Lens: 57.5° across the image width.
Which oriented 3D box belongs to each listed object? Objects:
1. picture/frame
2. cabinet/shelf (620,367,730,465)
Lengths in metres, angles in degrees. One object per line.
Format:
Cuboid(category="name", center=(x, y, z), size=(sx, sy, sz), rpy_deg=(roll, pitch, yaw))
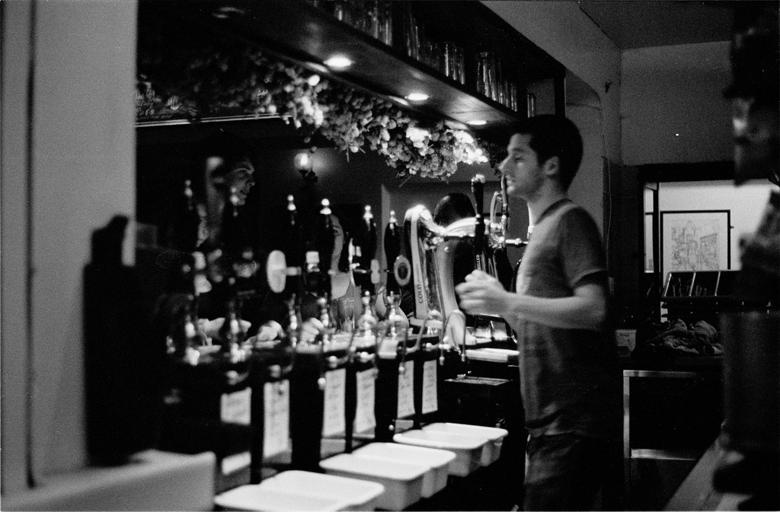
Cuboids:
Cuboid(category="picture/frame", center=(1.108, -0.028, 2.550), size=(0.306, 0.373, 0.027), rpy_deg=(-1, -3, 15))
Cuboid(category="cabinet/shelf", center=(1.093, 0.592, 2.685), size=(0.201, 0.303, 0.341), rpy_deg=(5, -8, -44))
